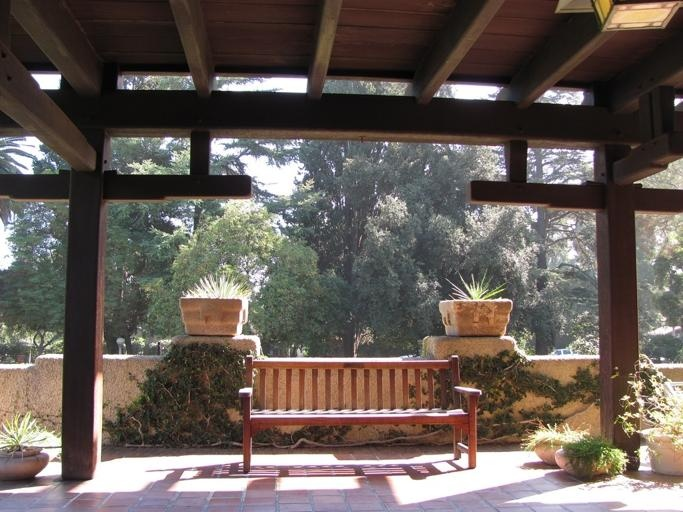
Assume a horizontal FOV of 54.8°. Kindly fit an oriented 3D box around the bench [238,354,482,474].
[{"bbox_3d":[0.119,1.510,6.248,2.214,1.043,0.789,1,-5,-6],"label":"bench"}]

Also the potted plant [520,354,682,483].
[{"bbox_3d":[2.308,1.420,6.773,0.831,1.103,1.564,2,9,16],"label":"potted plant"}]

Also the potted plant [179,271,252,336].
[{"bbox_3d":[-1.435,0.519,7.331,0.709,0.690,0.677,1,-2,-17],"label":"potted plant"}]

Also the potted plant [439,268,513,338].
[{"bbox_3d":[1.511,0.585,7.458,0.676,0.599,0.664,-1,-6,-1],"label":"potted plant"}]
